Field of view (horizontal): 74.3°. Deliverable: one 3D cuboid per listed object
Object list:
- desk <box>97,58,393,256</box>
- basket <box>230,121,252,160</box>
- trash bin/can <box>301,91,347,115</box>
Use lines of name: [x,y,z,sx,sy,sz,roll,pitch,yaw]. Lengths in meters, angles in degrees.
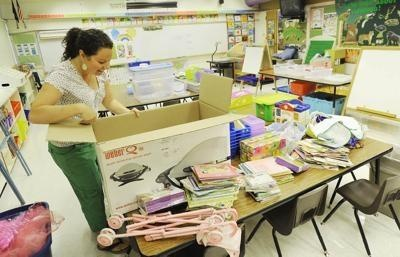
desk: [0.614,0.303,2.702,2.608,0.580,1.513,-23,42,-15]
basket: [0.446,0.145,2.887,0.349,0.242,0.199,-19,28,-36]
trash bin/can: [2.251,-0.509,4.979,0.613,0.421,0.788,-15,20,-29]
